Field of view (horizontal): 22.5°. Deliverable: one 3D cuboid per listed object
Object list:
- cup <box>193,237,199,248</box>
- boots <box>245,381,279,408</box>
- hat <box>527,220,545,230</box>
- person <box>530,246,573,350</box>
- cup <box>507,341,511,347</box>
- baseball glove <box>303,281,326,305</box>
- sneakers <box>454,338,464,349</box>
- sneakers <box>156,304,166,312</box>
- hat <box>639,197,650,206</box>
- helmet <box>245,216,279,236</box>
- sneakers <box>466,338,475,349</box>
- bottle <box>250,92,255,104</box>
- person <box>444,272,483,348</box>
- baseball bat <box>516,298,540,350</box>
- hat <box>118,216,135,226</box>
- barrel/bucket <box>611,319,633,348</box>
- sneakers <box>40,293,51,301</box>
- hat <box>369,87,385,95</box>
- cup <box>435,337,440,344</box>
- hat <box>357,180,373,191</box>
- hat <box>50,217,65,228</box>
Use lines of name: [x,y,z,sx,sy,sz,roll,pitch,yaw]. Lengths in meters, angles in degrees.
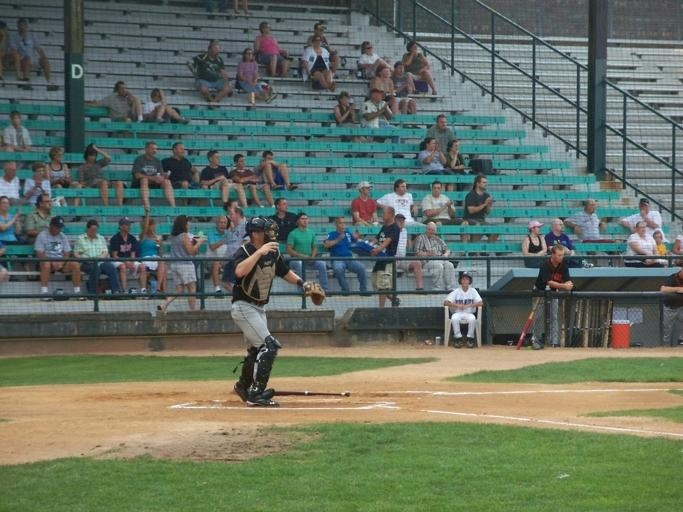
cup: [-3.410,-0.346,40.354,0.142,0.185,0.364,0,1,-14]
boots: [-1.553,2.730,34.049,0.653,0.432,0.593,0,1,-18]
hat: [4.778,-0.771,41.769,0.320,0.164,0.242,-9,6,-4]
person: [4.901,0.917,39.910,0.899,2.367,0.543,0,2,8]
cup: [3.979,2.022,40.376,0.098,0.097,0.222,0,1,2]
baseball glove: [-0.485,0.704,34.358,0.334,0.493,0.174,16,46,39]
sneakers: [2.787,1.983,40.183,0.275,0.245,0.250,0,1,-19]
sneakers: [-4.170,1.179,39.658,0.207,0.206,0.115,2,8,2]
hat: [7.755,-1.364,43.831,0.256,0.225,0.437,-2,-20,16]
helmet: [-1.579,-0.593,34.144,0.469,0.304,0.374,-4,1,2]
sneakers: [3.038,2.020,40.086,0.186,0.195,0.337,2,0,5]
bottle: [-2.366,-4.194,45.955,0.101,0.350,0.137,-2,18,-5]
person: [2.893,1.255,40.194,0.841,1.650,0.381,0,2,3]
baseball bat: [4.397,1.546,40.113,0.133,1.206,0.167,22,5,-34]
hat: [-5.032,-0.811,39.903,0.325,0.147,0.247,0,0,10]
barrel/bucket: [6.578,1.782,40.099,0.558,0.610,0.228,-1,2,-24]
sneakers: [-6.689,0.928,39.075,0.255,0.184,0.094,0,2,-11]
hat: [0.954,-4.354,45.716,0.296,0.161,0.224,0,3,2]
cup: [2.301,1.967,40.609,0.121,0.136,0.124,1,-2,0]
hat: [0.565,-1.741,42.592,0.280,0.147,0.212,-13,5,9]
hat: [-6.536,-0.778,39.532,0.310,0.180,0.232,8,2,23]
